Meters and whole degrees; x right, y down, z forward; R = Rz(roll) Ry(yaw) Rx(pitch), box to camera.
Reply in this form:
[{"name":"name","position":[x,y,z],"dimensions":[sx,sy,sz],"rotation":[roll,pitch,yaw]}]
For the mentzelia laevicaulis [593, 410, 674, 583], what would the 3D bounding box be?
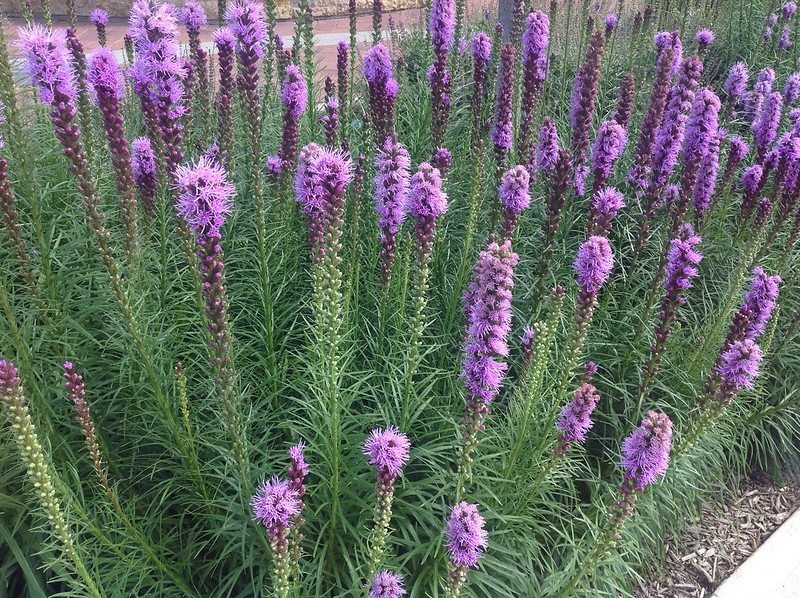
[{"name":"mentzelia laevicaulis","position":[1.287,1.112,4.348],"dimensions":[0.338,1.080,0.214],"rotation":[9,24,16]}]
